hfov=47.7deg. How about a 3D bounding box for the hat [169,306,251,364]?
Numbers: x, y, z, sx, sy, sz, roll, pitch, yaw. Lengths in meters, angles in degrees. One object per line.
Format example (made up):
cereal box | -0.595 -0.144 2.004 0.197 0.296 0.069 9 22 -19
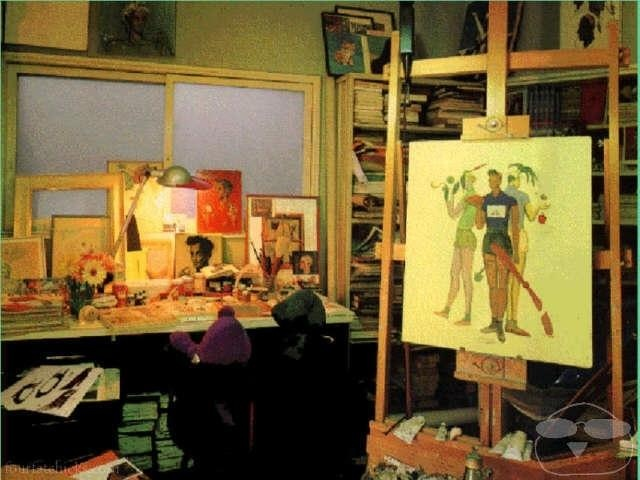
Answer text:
hat | -0.691 0.575 4.434 0.441 0.296 0.276 0 4 -17

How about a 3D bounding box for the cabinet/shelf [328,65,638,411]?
cabinet/shelf | 1.050 -0.018 4.485 2.448 2.148 0.795 0 -4 -2
